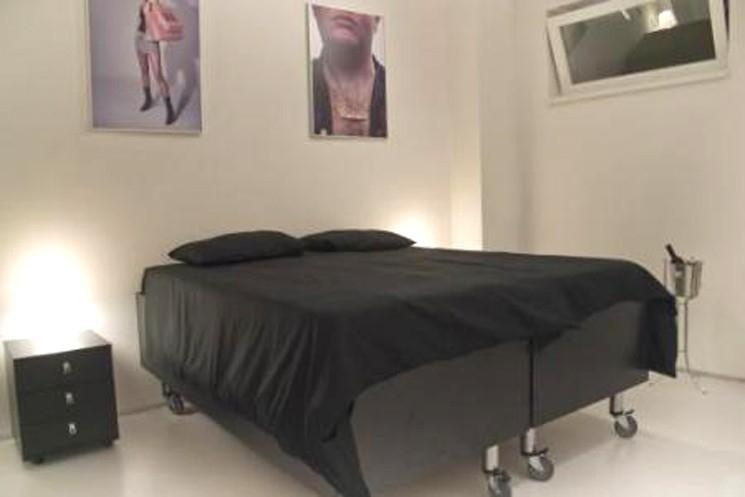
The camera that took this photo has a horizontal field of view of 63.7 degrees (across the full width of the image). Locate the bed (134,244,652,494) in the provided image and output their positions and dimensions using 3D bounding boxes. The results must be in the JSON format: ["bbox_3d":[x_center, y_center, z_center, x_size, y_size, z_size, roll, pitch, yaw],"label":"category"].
[{"bbox_3d":[0.241,0.719,3.654,3.215,1.243,1.554,-4,5,-11],"label":"bed"}]

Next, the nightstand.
[{"bbox_3d":[-2.035,0.960,3.920,0.582,0.725,0.506,-6,6,-33],"label":"nightstand"}]

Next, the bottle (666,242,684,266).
[{"bbox_3d":[2.345,0.039,4.622,0.116,0.171,0.573,0,5,27],"label":"bottle"}]
